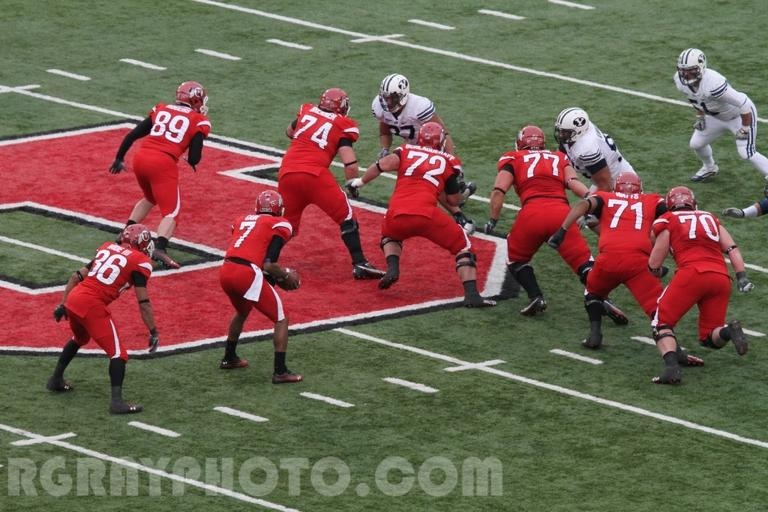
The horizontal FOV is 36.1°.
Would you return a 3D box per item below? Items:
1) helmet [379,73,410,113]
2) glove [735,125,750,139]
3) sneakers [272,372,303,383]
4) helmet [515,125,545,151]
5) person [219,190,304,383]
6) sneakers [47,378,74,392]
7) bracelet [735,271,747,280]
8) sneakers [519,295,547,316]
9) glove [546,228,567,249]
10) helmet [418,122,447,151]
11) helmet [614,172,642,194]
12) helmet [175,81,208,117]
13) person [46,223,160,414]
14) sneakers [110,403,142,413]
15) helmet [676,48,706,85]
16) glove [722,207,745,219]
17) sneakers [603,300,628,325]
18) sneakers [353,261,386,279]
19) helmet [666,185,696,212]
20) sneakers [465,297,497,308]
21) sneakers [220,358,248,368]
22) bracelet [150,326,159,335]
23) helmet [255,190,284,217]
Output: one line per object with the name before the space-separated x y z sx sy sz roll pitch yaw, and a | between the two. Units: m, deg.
helmet | 0.100 -2.181 15.483 0.433 0.362 0.500 13 32 24
glove | 4.969 -1.726 16.286 0.162 0.174 0.114 30 14 18
sneakers | -0.991 1.228 11.995 0.351 0.101 0.107 -2 13 -11
helmet | 1.780 -1.412 13.951 0.342 0.261 0.370 1 10 -11
person | -1.241 0.299 12.171 0.889 1.805 1.124 3 21 -7
sneakers | -3.233 1.271 11.723 0.323 0.119 0.089 3 42 -32
bracelet | 3.726 0.191 12.274 0.116 0.060 0.100 2 6 18
sneakers | 1.714 0.545 13.431 0.284 0.259 0.250 6 19 5
glove | 1.909 -0.199 12.977 0.283 0.153 0.100 -39 6 -5
helmet | 0.592 -1.421 14.143 0.397 0.322 0.372 6 37 8
helmet | 2.715 -0.833 13.067 0.263 0.221 0.297 7 21 11
helmet | -2.449 -2.007 14.866 0.409 0.311 0.441 7 10 18
person | -2.771 0.587 11.653 1.070 1.644 1.235 2 20 -9
sneakers | -2.514 1.465 11.473 0.315 0.086 0.108 -2 12 -14
helmet | 4.216 -2.655 16.340 0.433 0.426 0.507 7 30 27
glove | 4.325 -0.541 14.523 0.254 0.068 0.140 3 11 -25
sneakers | 2.641 0.637 13.426 0.380 0.136 0.129 32 -25 -5
sneakers | -0.207 0.168 14.125 0.521 0.181 0.149 0 5 -5
helmet | 3.197 -0.643 12.721 0.291 0.220 0.330 -2 6 9
sneakers | 1.099 0.527 13.551 0.423 0.141 0.113 -4 52 -8
sneakers | -1.557 1.107 12.257 0.314 0.114 0.091 -7 39 -15
bracelet | -2.334 0.745 12.002 0.121 0.060 0.104 0 -12 -17
helmet | -1.219 -0.575 12.462 0.316 0.239 0.307 3 16 5
